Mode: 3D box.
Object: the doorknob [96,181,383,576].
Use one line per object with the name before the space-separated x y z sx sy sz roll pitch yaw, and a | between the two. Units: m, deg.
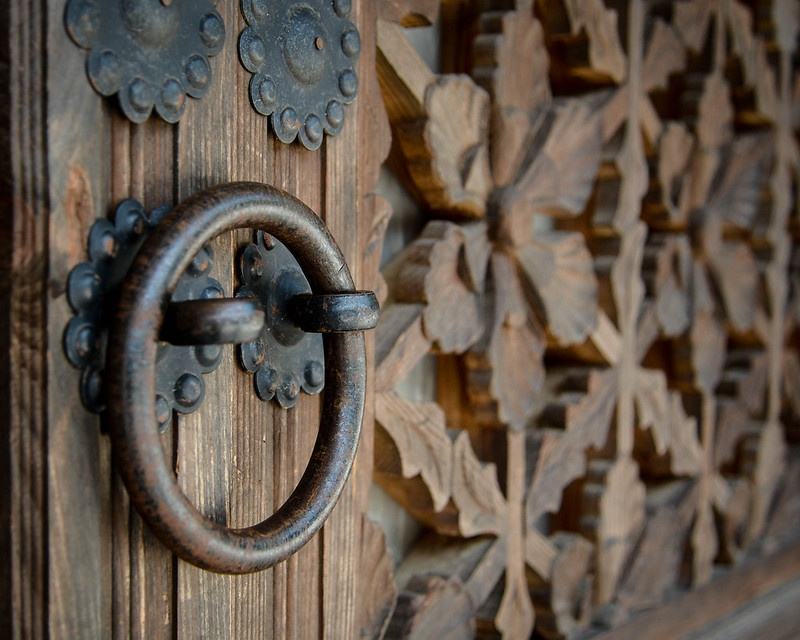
doorknob | -0.137 0.045 1.086 0.092 0.255 0.349 -2 -88 29
